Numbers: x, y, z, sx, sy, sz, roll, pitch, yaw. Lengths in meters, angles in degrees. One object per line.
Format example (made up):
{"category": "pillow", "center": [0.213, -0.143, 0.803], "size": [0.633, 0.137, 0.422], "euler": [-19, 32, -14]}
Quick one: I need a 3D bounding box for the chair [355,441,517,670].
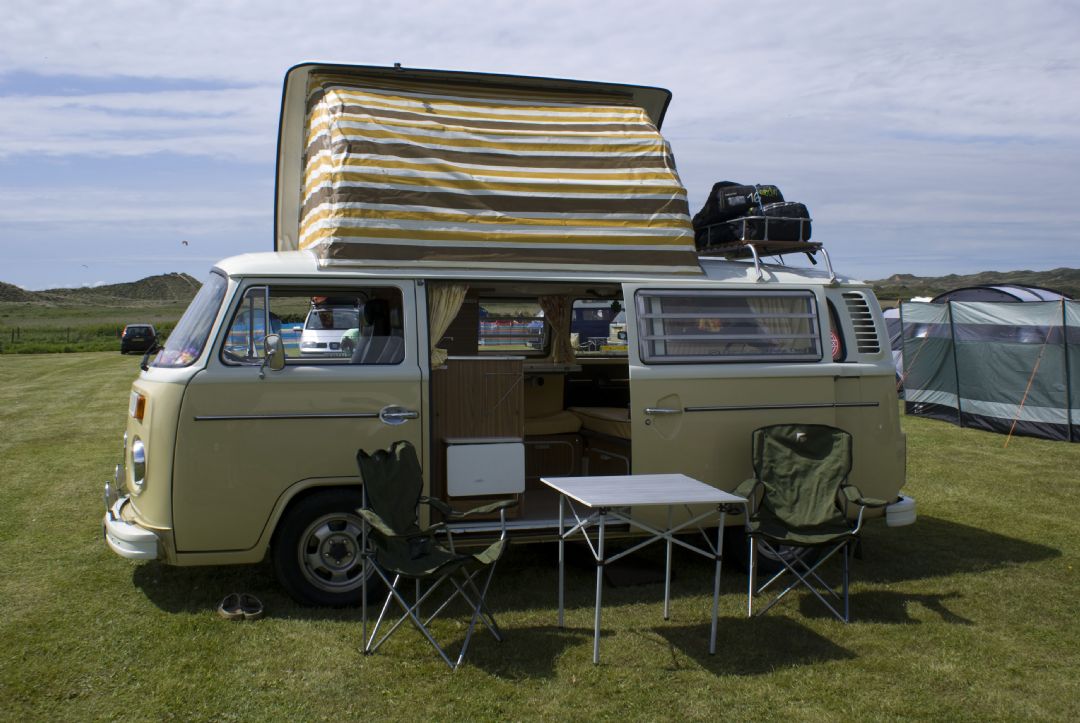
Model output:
{"category": "chair", "center": [-0.923, 1.487, 6.687], "size": [1.168, 1.590, 1.510], "euler": [-1, 12, -8]}

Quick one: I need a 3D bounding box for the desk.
{"category": "desk", "center": [0.853, 1.759, 6.979], "size": [1.655, 1.308, 1.561], "euler": [4, -2, -24]}

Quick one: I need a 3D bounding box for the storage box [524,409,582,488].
{"category": "storage box", "center": [0.132, 0.995, 9.206], "size": [0.904, 0.744, 0.662], "euler": [-1, 0, -14]}

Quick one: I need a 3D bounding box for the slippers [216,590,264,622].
{"category": "slippers", "center": [-2.621, 2.112, 6.895], "size": [0.460, 0.126, 0.324], "euler": [1, 12, -1]}
